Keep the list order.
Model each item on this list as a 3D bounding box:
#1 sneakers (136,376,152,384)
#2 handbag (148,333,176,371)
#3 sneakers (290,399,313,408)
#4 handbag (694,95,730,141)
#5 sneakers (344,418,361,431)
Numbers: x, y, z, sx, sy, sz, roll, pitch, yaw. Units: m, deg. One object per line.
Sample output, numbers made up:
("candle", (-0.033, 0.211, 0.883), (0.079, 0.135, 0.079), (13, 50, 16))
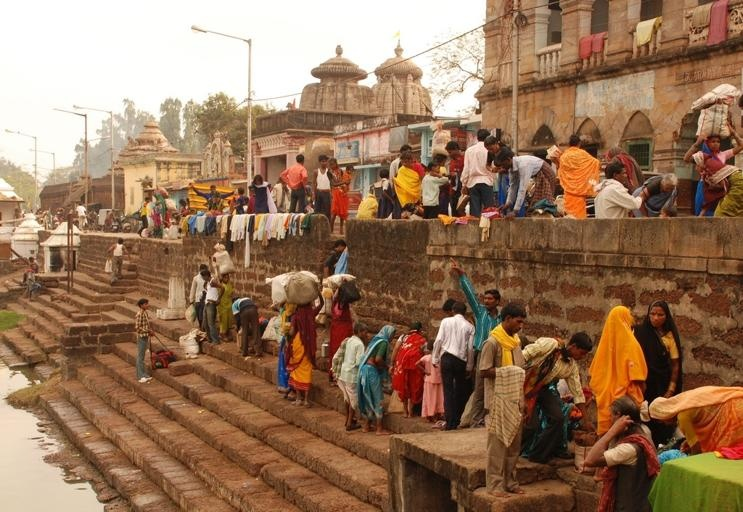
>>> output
("sneakers", (-4.811, 2.596, 17.478), (0.281, 0.139, 0.103), (-11, 12, -30))
("handbag", (-4.562, 1.993, 17.789), (0.443, 0.903, 0.309), (-7, 8, -16))
("sneakers", (-1.207, 2.514, 14.210), (0.316, 0.139, 0.128), (2, -3, 28))
("handbag", (5.016, -2.040, 11.994), (0.356, 0.654, 0.441), (-12, 10, -36))
("sneakers", (-0.339, 2.649, 13.134), (0.249, 0.262, 0.130), (-6, 11, -30))
